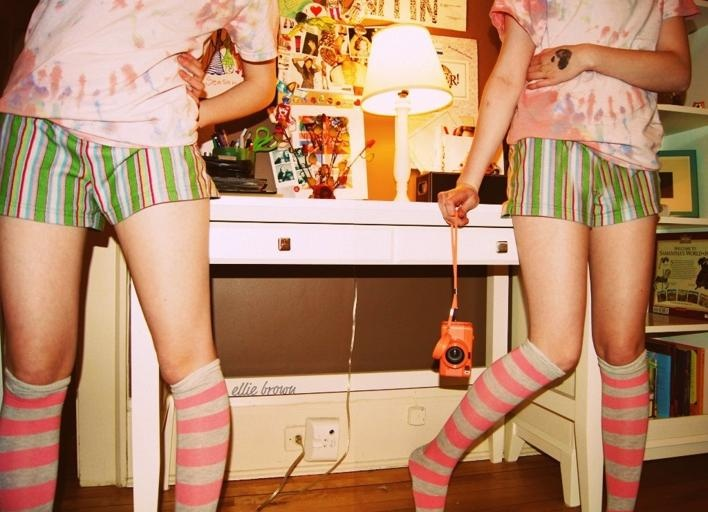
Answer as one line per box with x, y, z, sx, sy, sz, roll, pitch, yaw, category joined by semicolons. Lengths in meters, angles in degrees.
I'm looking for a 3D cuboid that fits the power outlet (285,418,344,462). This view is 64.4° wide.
-0.139;0.655;1.980;0.186;0.142;0.055;2;1;2;power outlet

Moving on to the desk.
0.029;0.329;1.759;0.984;0.756;0.362;-1;5;-6;desk

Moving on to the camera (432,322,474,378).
0.301;0.285;1.713;0.121;0.163;0.151;2;-2;28;camera
